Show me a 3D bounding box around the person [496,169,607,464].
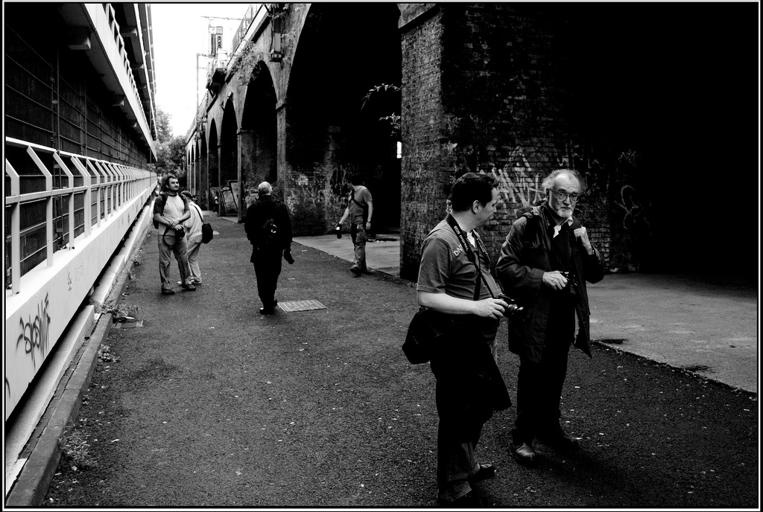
[{"bbox_3d":[1.328,0.476,4.708,0.866,2.343,0.479,-5,12,-26],"label":"person"}]

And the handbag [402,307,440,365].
[{"bbox_3d":[0.263,0.598,4.063,0.183,0.445,0.307,-9,14,-40],"label":"handbag"}]

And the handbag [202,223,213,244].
[{"bbox_3d":[-3.448,-0.431,11.066,0.195,0.457,1.158,-3,11,-18],"label":"handbag"}]

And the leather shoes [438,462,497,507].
[{"bbox_3d":[0.668,1.654,4.283,0.544,0.225,0.185,-17,16,-42],"label":"leather shoes"}]

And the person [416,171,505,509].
[{"bbox_3d":[0.591,0.595,4.176,0.575,2.371,0.609,7,12,33],"label":"person"}]

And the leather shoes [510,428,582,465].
[{"bbox_3d":[1.377,1.613,4.752,0.475,0.205,0.162,-14,14,-21],"label":"leather shoes"}]

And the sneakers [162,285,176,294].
[{"bbox_3d":[-3.909,0.606,10.270,0.217,0.160,0.245,-4,12,-21],"label":"sneakers"}]

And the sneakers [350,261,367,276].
[{"bbox_3d":[-0.517,0.311,12.545,0.183,0.251,0.543,-5,-21,12],"label":"sneakers"}]

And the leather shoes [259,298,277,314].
[{"bbox_3d":[-1.839,0.793,9.063,0.136,0.268,0.382,3,12,-4],"label":"leather shoes"}]

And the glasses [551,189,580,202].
[{"bbox_3d":[1.504,-0.493,4.623,0.240,0.131,0.130,1,11,8],"label":"glasses"}]

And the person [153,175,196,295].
[{"bbox_3d":[-3.865,-0.407,10.441,0.675,2.153,0.865,-4,11,-19],"label":"person"}]

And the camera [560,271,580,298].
[{"bbox_3d":[1.535,0.219,4.570,0.159,0.203,0.078,7,8,38],"label":"camera"}]

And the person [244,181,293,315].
[{"bbox_3d":[-1.815,-0.128,9.088,0.716,2.009,0.867,-2,11,-13],"label":"person"}]
